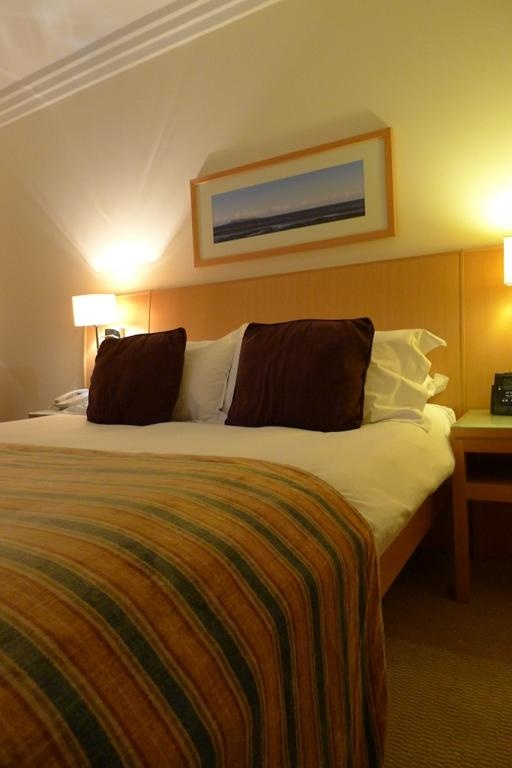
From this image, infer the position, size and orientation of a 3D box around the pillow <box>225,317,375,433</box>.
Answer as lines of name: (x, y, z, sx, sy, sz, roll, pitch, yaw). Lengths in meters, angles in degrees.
pillow: (0.145, -0.034, 1.920, 0.476, 0.471, 0.363, 10, 6, 9)
